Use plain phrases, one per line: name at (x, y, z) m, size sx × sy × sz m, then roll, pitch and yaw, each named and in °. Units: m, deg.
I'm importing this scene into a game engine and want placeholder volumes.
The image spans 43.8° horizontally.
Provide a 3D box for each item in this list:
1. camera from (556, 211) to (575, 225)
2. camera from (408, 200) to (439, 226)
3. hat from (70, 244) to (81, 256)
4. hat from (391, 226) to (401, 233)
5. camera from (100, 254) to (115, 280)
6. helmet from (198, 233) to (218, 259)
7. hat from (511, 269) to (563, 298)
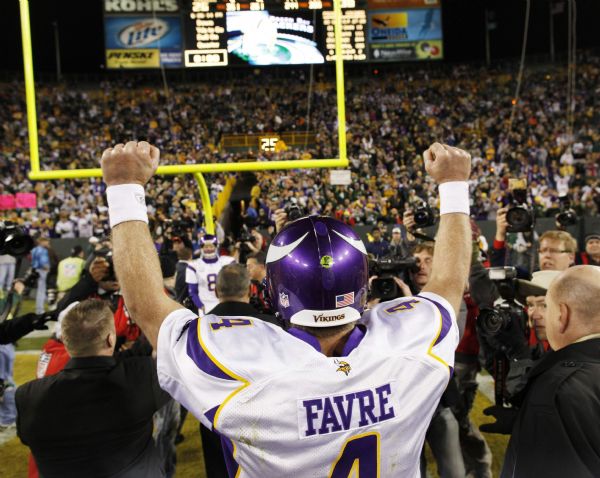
camera at (2.827, -0.218, 7.901) m, size 0.176 × 0.182 × 0.176 m, roll 4°, pitch -6°, yaw 1°
camera at (1.069, -0.215, 6.457) m, size 0.224 × 0.233 × 0.188 m, roll -1°, pitch -2°, yaw 31°
hat at (-3.384, 0.178, 11.274) m, size 0.163 × 0.201 × 0.203 m, roll 4°, pitch 23°, yaw -18°
hat at (1.516, -0.158, 11.887) m, size 0.102 × 0.113 × 0.139 m, roll 4°, pitch 9°, yaw 12°
camera at (-1.492, 0.218, 5.785) m, size 0.150 × 0.164 × 0.056 m, roll 7°, pitch 6°, yaw 5°
helmet at (-0.951, 0.058, 7.739) m, size 0.189 × 0.265 × 0.252 m, roll 0°, pitch -7°, yaw -8°
hat at (1.944, 0.374, 6.068) m, size 0.312 × 0.219 × 0.357 m, roll -2°, pitch 7°, yaw 3°
